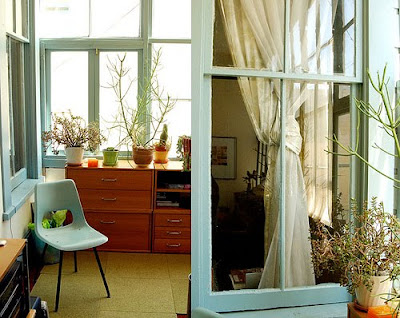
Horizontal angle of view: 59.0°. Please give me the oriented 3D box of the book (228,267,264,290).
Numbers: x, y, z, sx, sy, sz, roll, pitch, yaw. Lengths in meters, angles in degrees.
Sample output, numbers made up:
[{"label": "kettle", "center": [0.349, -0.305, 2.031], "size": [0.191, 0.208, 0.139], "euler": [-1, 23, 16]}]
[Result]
[{"label": "book", "center": [0.249, 0.663, 1.936], "size": [0.185, 0.108, 0.015], "euler": [1, 4, -12]}]

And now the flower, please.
[{"label": "flower", "center": [-1.458, -0.303, 4.103], "size": [0.806, 0.545, 0.639], "euler": [2, 5, -2]}]

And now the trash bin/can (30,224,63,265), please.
[{"label": "trash bin/can", "center": [-1.521, 0.852, 3.632], "size": [0.308, 0.403, 0.333], "euler": [1, 2, 3]}]

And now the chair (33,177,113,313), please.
[{"label": "chair", "center": [-1.148, 0.719, 3.076], "size": [0.574, 0.983, 0.520], "euler": [9, 9, 42]}]

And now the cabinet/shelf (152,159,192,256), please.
[{"label": "cabinet/shelf", "center": [-0.319, 0.557, 3.936], "size": [0.420, 0.955, 0.395], "euler": [1, 4, -4]}]

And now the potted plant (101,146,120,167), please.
[{"label": "potted plant", "center": [-0.977, -0.034, 3.862], "size": [0.160, 0.160, 0.184], "euler": [5, 8, 24]}]

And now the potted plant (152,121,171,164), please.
[{"label": "potted plant", "center": [-0.442, -0.173, 4.108], "size": [0.191, 0.456, 0.134], "euler": [1, 4, -9]}]

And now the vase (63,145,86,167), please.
[{"label": "vase", "center": [-1.358, -0.034, 3.817], "size": [0.170, 0.179, 0.175], "euler": [0, 0, -7]}]
